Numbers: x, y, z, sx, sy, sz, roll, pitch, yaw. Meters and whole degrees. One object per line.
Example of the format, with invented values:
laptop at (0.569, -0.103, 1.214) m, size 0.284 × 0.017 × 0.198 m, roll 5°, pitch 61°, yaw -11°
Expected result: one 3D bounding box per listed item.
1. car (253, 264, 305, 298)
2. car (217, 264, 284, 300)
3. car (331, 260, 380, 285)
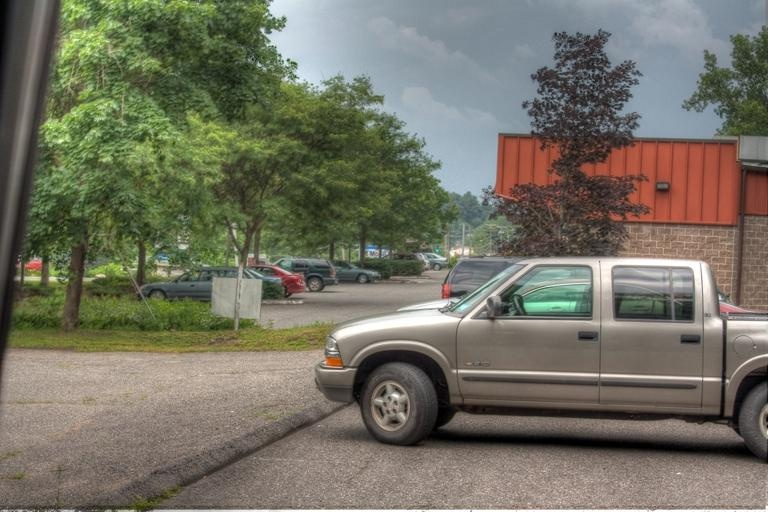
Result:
car at (-5.137, 1.156, 34.779) m, size 3.018 × 0.954 × 1.270 m, roll 2°, pitch -2°, yaw 6°
car at (-7.203, 1.332, 32.458) m, size 4.148 × 1.368 × 1.827 m, roll 2°, pitch 0°, yaw 3°
car at (-2.257, 1.242, 53.175) m, size 3.766 × 1.233 × 1.601 m, roll -1°, pitch 1°, yaw 4°
